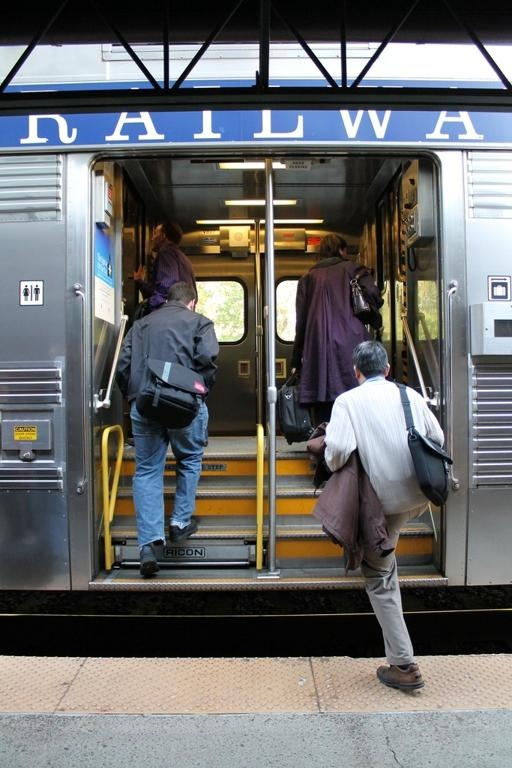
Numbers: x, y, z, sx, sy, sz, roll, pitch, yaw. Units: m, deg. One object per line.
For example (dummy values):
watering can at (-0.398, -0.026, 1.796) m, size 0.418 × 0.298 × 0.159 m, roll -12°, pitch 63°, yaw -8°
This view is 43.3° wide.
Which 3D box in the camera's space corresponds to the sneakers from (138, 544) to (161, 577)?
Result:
sneakers at (-0.580, 1.017, 3.656) m, size 0.073 × 0.234 × 0.173 m, roll 1°, pitch 45°, yaw -6°

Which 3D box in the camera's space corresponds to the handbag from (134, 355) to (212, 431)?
handbag at (-0.488, 0.042, 3.665) m, size 0.279 × 0.330 × 0.169 m, roll 23°, pitch -45°, yaw -14°

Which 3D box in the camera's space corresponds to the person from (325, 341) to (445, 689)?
person at (0.579, 0.591, 2.888) m, size 0.511 × 1.577 × 0.482 m, roll -2°, pitch -4°, yaw 14°

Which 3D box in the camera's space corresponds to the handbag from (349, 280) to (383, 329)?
handbag at (0.734, -0.510, 4.379) m, size 0.193 × 0.349 × 0.127 m, roll -4°, pitch 2°, yaw -12°

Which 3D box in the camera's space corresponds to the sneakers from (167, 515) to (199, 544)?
sneakers at (-0.426, 0.862, 3.871) m, size 0.078 × 0.111 × 0.234 m, roll 4°, pitch 24°, yaw 23°

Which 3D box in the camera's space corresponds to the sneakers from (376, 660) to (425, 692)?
sneakers at (0.654, 1.308, 2.979) m, size 0.090 × 0.125 × 0.236 m, roll -4°, pitch 3°, yaw -36°
